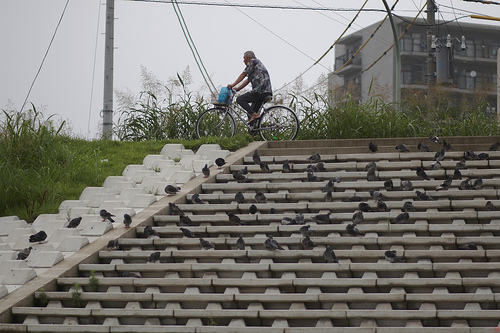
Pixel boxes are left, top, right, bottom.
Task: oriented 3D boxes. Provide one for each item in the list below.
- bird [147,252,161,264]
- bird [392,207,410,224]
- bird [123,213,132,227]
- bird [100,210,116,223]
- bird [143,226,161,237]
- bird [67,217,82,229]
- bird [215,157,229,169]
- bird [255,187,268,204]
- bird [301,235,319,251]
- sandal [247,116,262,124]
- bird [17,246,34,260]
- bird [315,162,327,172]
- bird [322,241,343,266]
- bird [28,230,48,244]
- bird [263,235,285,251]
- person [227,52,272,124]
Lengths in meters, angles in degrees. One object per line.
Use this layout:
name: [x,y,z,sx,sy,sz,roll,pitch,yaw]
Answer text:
bird: [-2.344,2.150,30.096,0.287,0.255,0.158,4,-6,-5]
bird: [3.789,1.208,30.441,0.457,0.290,0.161,-19,16,-22]
bird: [-3.048,1.299,30.870,0.211,0.315,0.319,4,-6,-7]
bird: [-3.555,1.204,31.171,0.300,0.271,0.473,-2,-8,42]
bird: [-2.503,1.578,30.745,0.469,0.275,0.311,-2,-8,42]
bird: [-4.402,1.379,30.924,0.369,0.371,0.183,18,1,-12]
bird: [-0.749,-0.144,32.805,0.287,0.212,0.222,13,-43,1]
bird: [0.274,0.749,31.432,0.198,0.335,0.341,-5,13,34]
bird: [1.458,1.793,30.179,0.416,0.302,0.247,-27,6,-35]
sandal: [0.129,-1.276,34.324,0.392,0.156,0.133,-38,-8,10]
bird: [-5.536,2.075,30.337,0.324,0.312,0.206,6,-6,-24]
bird: [1.847,-0.008,32.166,0.166,0.219,0.230,-3,-17,9]
bird: [1.906,2.024,29.839,0.237,0.654,0.397,-26,-38,-2]
bird: [-5.243,1.710,30.613,0.359,0.273,0.256,2,-1,17]
bird: [0.575,1.815,29.995,0.243,0.301,0.408,-2,-7,-29]
person: [0.129,-2.078,34.485,0.932,1.765,0.320,3,-6,-1]
